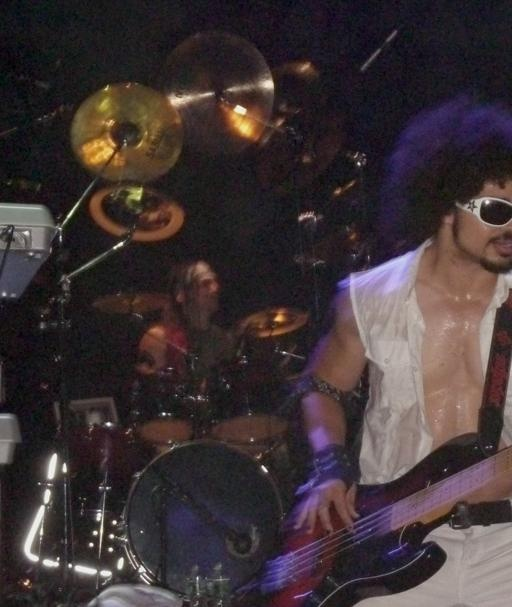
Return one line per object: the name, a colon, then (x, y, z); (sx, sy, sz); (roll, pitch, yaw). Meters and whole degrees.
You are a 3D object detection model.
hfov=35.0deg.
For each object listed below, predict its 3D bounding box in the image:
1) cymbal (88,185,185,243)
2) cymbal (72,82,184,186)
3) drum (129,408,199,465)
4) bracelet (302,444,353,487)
cymbal: (-0.616, -0.474, 4.382); (0.573, 0.384, 0.194); (-15, 33, -41)
cymbal: (-0.634, -0.843, 4.055); (0.510, 0.505, 0.175); (-11, 32, -35)
drum: (-0.434, 0.592, 3.736); (0.352, 0.237, 0.270); (6, -4, 23)
bracelet: (0.267, 0.562, 2.837); (0.189, 0.103, 0.142); (11, -28, -37)
